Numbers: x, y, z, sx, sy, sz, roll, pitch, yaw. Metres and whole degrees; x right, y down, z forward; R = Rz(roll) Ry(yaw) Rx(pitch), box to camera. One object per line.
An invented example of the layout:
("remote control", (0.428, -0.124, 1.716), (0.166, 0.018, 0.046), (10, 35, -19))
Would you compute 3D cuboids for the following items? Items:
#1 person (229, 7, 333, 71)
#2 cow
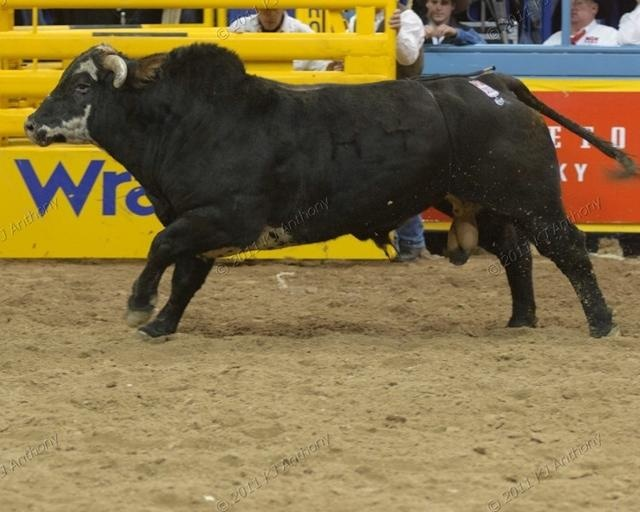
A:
("person", (-0.376, -2.016, 9.323), (0.932, 0.272, 0.824), (11, 9, 34))
("cow", (-0.092, -0.409, 6.591), (3.369, 1.826, 0.635), (-2, 17, -8))
